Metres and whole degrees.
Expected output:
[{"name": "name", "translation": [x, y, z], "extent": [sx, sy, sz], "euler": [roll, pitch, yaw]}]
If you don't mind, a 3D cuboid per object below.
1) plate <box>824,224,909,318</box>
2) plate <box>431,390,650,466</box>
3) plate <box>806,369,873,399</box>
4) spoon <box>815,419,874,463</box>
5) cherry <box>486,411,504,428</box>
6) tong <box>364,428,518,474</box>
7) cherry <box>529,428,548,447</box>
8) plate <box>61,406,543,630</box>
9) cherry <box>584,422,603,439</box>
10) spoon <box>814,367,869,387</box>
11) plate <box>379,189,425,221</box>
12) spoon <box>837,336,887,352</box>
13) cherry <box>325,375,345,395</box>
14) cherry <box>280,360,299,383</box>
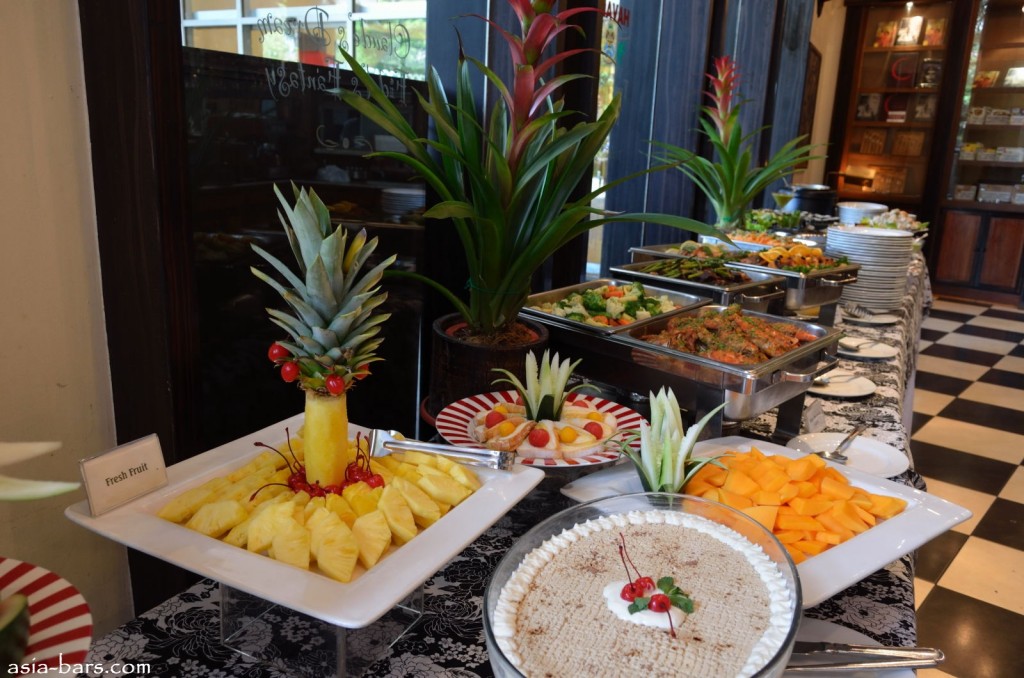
[{"name": "plate", "translation": [1.395, -0.283, 2.778], "extent": [0.301, 0.314, 0.350], "euler": [11, 25, 27]}, {"name": "plate", "translation": [0.053, 0.180, 1.323], "extent": [0.373, 0.071, 0.275], "euler": [10, 16, 40]}, {"name": "plate", "translation": [0.919, 0.134, 1.896], "extent": [0.161, 0.020, 0.153], "euler": [0, 21, 11]}, {"name": "spoon", "translation": [0.713, 0.224, 1.473], "extent": [0.064, 0.026, 0.215], "euler": [11, 27, 36]}, {"name": "cherry", "translation": [-0.034, 0.161, 1.347], "extent": [0.034, 0.029, 0.030], "euler": [-3, 18, -10]}, {"name": "tong", "translation": [-0.120, 0.200, 1.185], "extent": [0.206, 0.031, 0.156], "euler": [9, 12, 38]}, {"name": "cherry", "translation": [0.052, 0.195, 1.311], "extent": [0.034, 0.031, 0.033], "euler": [-3, 9, -14]}, {"name": "plate", "translation": [-0.333, 0.288, 1.061], "extent": [0.450, 0.048, 0.448], "euler": [12, 16, 26]}, {"name": "cherry", "translation": [0.166, 0.184, 1.352], "extent": [0.030, 0.034, 0.030], "euler": [-36, 18, -34]}, {"name": "spoon", "translation": [0.959, 0.111, 1.962], "extent": [0.132, 0.018, 0.133], "euler": [9, 19, 40]}, {"name": "plate", "translation": [-0.317, -0.378, 1.884], "extent": [0.099, 0.060, 0.103], "euler": [3, 20, 6]}, {"name": "spoon", "translation": [1.134, 0.017, 2.217], "extent": [0.105, 0.019, 0.097], "euler": [-3, 17, -14]}, {"name": "cherry", "translation": [-0.271, 0.072, 1.036], "extent": [0.030, 0.032, 0.028], "euler": [-13, 33, -17]}, {"name": "cherry", "translation": [-0.346, 0.052, 1.065], "extent": [0.035, 0.040, 0.033], "euler": [2, -3, -16]}]
